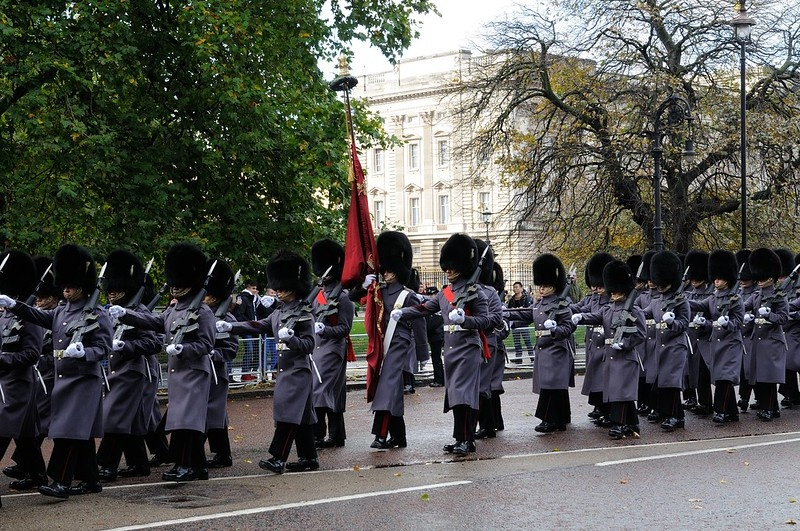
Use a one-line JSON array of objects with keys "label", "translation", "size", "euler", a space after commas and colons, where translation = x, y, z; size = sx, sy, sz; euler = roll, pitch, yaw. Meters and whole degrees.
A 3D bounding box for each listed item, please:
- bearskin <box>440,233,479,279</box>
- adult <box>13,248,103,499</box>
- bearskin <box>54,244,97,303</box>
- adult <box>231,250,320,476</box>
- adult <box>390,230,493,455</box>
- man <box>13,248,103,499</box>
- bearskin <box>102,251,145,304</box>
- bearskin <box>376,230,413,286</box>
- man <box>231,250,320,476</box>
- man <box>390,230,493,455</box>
[{"label": "bearskin", "translation": [0.996, -0.165, 21.517], "size": [0.663, 0.733, 0.238], "euler": [6, 1, 10]}, {"label": "adult", "translation": [-4.927, 1.587, 19.560], "size": [0.967, 3.885, 0.645], "euler": [1, -11, -13]}, {"label": "bearskin", "translation": [-5.138, 0.017, 20.120], "size": [0.620, 0.575, 0.850], "euler": [-5, -12, 13]}, {"label": "adult", "translation": [-1.851, 1.524, 20.534], "size": [0.978, 3.583, 0.848], "euler": [-4, -11, 14]}, {"label": "adult", "translation": [0.941, 1.299, 21.328], "size": [0.672, 3.731, 0.982], "euler": [9, -15, -43]}, {"label": "man", "translation": [-4.926, 1.587, 19.562], "size": [0.969, 3.885, 0.641], "euler": [1, -11, -13]}, {"label": "bearskin", "translation": [-4.447, 0.184, 20.562], "size": [0.702, 0.804, 0.347], "euler": [14, -10, -16]}, {"label": "bearskin", "translation": [-0.069, -0.119, 22.125], "size": [0.717, 0.860, 0.301], "euler": [3, 11, 26]}, {"label": "man", "translation": [-1.851, 1.522, 20.523], "size": [0.974, 3.583, 0.835], "euler": [-4, -11, 12]}, {"label": "man", "translation": [0.946, 1.300, 21.331], "size": [0.658, 3.731, 0.985], "euler": [9, -15, -43]}]
